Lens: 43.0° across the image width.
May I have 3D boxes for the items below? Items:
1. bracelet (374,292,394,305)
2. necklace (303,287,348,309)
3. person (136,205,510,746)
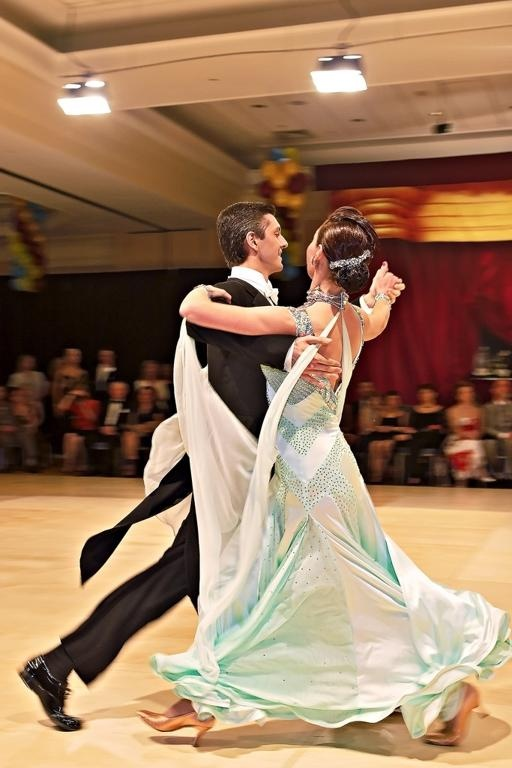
[{"bbox_3d":[0.363,-0.244,1.844,0.041,0.015,0.041,8,12,-46],"label":"bracelet"},{"bbox_3d":[0.174,-0.199,1.547,0.063,0.042,0.078,5,1,-22],"label":"necklace"},{"bbox_3d":[0.160,0.197,1.515,0.833,1.280,0.356,0,-4,-10],"label":"person"}]
